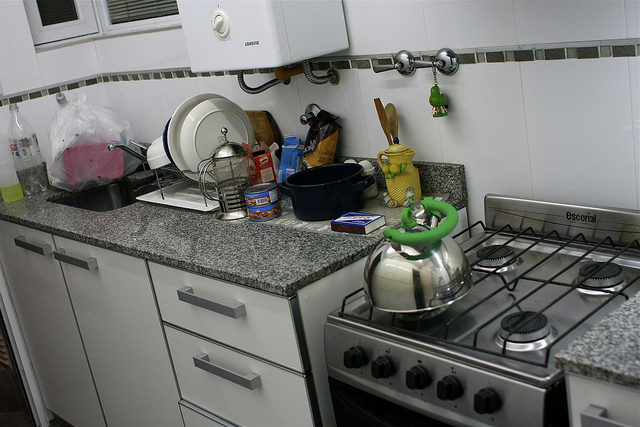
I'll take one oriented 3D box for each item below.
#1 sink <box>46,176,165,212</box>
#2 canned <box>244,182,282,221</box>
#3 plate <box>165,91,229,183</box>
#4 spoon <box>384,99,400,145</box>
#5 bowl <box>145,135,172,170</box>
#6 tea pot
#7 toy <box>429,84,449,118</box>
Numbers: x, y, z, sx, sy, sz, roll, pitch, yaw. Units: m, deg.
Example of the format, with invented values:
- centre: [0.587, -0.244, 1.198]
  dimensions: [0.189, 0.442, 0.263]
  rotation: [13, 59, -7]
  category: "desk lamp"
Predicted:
- centre: [-1.232, -0.146, 2.403]
  dimensions: [0.375, 0.136, 0.282]
  rotation: [-21, 30, -39]
  category: "sink"
- centre: [-0.231, -0.045, 1.790]
  dimensions: [0.146, 0.152, 0.146]
  rotation: [-10, 23, -8]
  category: "canned"
- centre: [-0.573, -0.373, 1.998]
  dimensions: [0.300, 0.341, 0.116]
  rotation: [-18, 21, -33]
  category: "plate"
- centre: [0.285, -0.358, 1.682]
  dimensions: [0.023, 0.167, 0.051]
  rotation: [-8, 16, -37]
  category: "spoon"
- centre: [-0.755, -0.275, 2.040]
  dimensions: [0.136, 0.099, 0.135]
  rotation: [-29, 15, 9]
  category: "bowl"
- centre: [0.276, 0.077, 1.176]
  dimensions: [0.230, 0.221, 0.314]
  rotation: [2, 24, 31]
  category: "tea pot"
- centre: [0.439, -0.412, 1.581]
  dimensions: [0.063, 0.123, 0.072]
  rotation: [-1, 18, 18]
  category: "toy"
